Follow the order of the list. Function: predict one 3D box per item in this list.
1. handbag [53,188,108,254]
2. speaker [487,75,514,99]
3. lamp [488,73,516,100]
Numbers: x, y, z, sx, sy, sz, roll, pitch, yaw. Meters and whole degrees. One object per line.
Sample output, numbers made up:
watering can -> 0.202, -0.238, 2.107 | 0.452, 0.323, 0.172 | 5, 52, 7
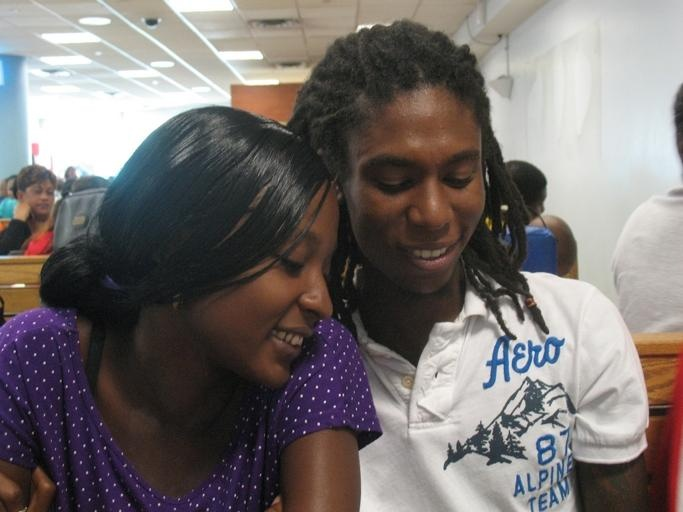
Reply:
handbag -> -1.841, -0.267, 4.235 | 0.357, 0.549, 0.287 | -11, 52, -28
speaker -> 1.930, -2.070, 7.486 | 0.245, 0.240, 0.275 | -16, 2, 13
lamp -> 1.967, -2.052, 7.503 | 0.261, 0.252, 0.275 | -6, 7, 24
